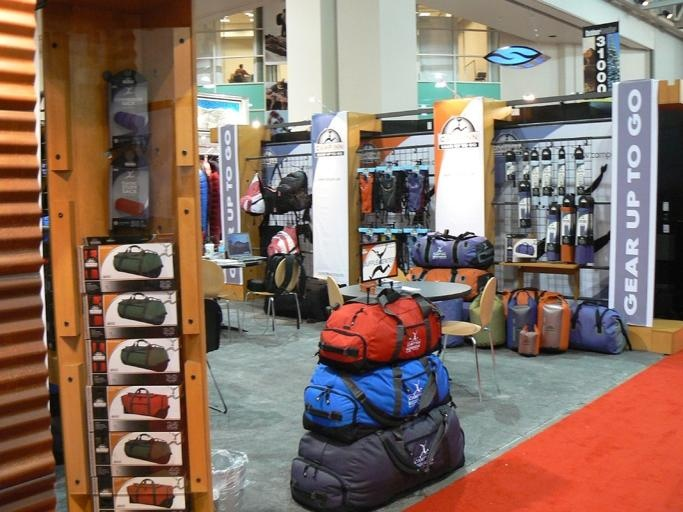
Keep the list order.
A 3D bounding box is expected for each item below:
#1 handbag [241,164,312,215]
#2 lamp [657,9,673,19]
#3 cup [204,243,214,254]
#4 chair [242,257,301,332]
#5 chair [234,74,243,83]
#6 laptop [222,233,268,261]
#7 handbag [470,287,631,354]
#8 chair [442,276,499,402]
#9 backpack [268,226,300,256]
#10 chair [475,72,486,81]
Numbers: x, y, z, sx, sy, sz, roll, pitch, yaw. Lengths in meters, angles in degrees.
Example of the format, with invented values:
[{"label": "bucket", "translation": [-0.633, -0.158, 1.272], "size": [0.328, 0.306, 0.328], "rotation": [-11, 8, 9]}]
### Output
[{"label": "handbag", "translation": [-0.910, -0.901, 8.590], "size": [0.757, 0.369, 0.645], "rotation": [-21, 15, -35]}, {"label": "lamp", "translation": [8.099, -6.082, 15.365], "size": [0.174, 0.092, 0.275], "rotation": [-6, 16, -2]}, {"label": "cup", "translation": [-1.629, -0.096, 7.410], "size": [0.130, 0.132, 0.128], "rotation": [0, -2, 0]}, {"label": "chair", "translation": [-0.802, 0.382, 7.244], "size": [0.579, 0.827, 0.475], "rotation": [7, 6, 37]}, {"label": "chair", "translation": [-2.864, -4.952, 17.070], "size": [0.297, 0.278, 0.209], "rotation": [-2, -36, -5]}, {"label": "laptop", "translation": [-1.221, -0.103, 7.314], "size": [0.374, 0.316, 0.295], "rotation": [-1, 0, -43]}, {"label": "handbag", "translation": [2.214, 0.644, 6.076], "size": [1.020, 0.430, 0.593], "rotation": [3, 5, 37]}, {"label": "chair", "translation": [0.980, 0.649, 5.123], "size": [0.571, 0.947, 0.520], "rotation": [1, 6, 23]}, {"label": "backpack", "translation": [-0.822, -0.208, 8.483], "size": [0.444, 0.414, 0.336], "rotation": [14, -15, -26]}, {"label": "chair", "translation": [3.738, -4.843, 16.520], "size": [0.275, 0.277, 0.282], "rotation": [4, 7, 19]}]
